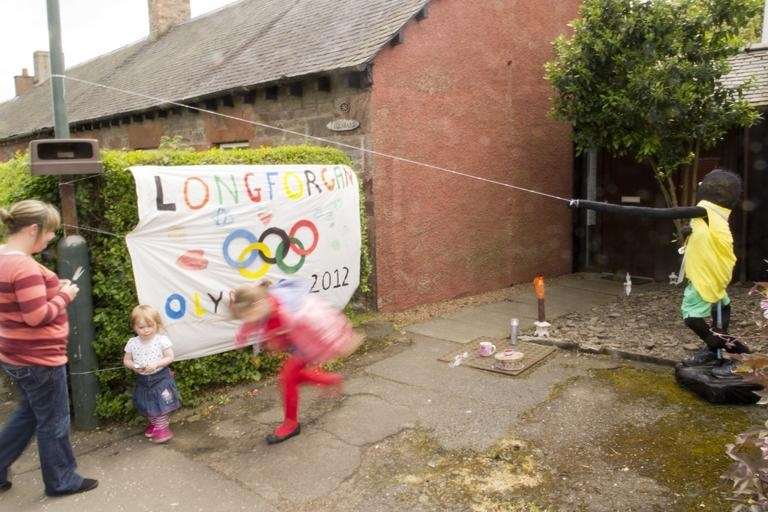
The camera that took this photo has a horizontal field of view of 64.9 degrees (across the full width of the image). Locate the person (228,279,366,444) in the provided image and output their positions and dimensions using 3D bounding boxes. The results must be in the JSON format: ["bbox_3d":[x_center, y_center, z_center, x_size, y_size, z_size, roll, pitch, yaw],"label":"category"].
[{"bbox_3d":[-0.901,1.091,6.205,1.154,1.724,0.362,-4,8,-1],"label":"person"}]

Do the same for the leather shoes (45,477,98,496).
[{"bbox_3d":[-2.959,2.215,5.732,0.433,0.163,0.165,-3,5,-25],"label":"leather shoes"}]

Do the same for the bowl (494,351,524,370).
[{"bbox_3d":[1.599,1.305,7.707,0.363,0.226,0.308,-3,7,7],"label":"bowl"}]

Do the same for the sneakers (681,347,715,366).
[{"bbox_3d":[3.746,1.200,7.203,0.237,0.098,0.330,-7,-3,-27],"label":"sneakers"}]

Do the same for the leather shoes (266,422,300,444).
[{"bbox_3d":[-1.066,1.873,6.400,0.316,0.110,0.148,-4,-1,-28],"label":"leather shoes"}]

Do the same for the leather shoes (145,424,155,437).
[{"bbox_3d":[-2.508,1.883,6.484,0.089,0.064,0.160,1,0,-8],"label":"leather shoes"}]

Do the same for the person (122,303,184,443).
[{"bbox_3d":[-2.485,1.241,6.424,0.470,1.455,0.338,-7,8,-22],"label":"person"}]

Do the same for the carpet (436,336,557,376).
[{"bbox_3d":[1.588,1.304,8.136,1.121,0.229,1.147,1,8,35],"label":"carpet"}]
